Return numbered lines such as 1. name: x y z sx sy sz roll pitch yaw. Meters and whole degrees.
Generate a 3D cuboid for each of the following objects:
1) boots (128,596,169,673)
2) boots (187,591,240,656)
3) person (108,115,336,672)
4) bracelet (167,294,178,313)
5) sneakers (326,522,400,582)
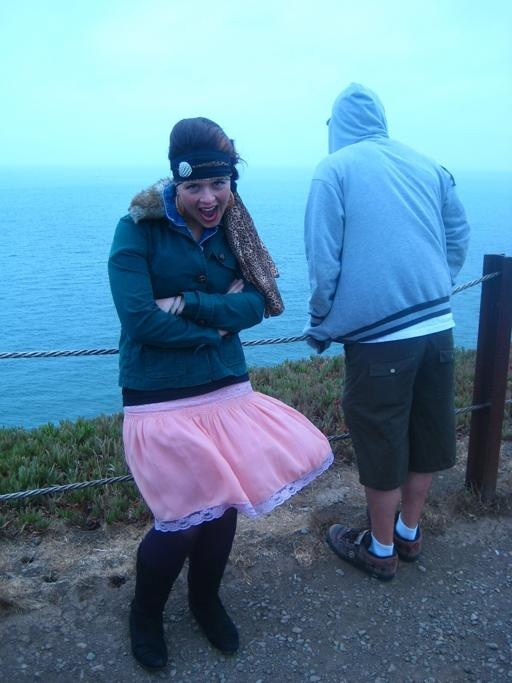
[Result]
1. boots: -0.419 1.151 2.159 0.110 0.194 0.295 0 1 -20
2. boots: -0.177 1.134 2.271 0.111 0.128 0.316 -10 13 -29
3. person: -0.158 0.247 1.989 0.713 2.021 0.601 -1 13 -17
4. bracelet: -0.298 -0.133 1.916 0.037 0.047 0.012 9 -24 2
5. sneakers: 0.502 1.035 2.781 0.152 0.149 0.382 -24 33 -37
